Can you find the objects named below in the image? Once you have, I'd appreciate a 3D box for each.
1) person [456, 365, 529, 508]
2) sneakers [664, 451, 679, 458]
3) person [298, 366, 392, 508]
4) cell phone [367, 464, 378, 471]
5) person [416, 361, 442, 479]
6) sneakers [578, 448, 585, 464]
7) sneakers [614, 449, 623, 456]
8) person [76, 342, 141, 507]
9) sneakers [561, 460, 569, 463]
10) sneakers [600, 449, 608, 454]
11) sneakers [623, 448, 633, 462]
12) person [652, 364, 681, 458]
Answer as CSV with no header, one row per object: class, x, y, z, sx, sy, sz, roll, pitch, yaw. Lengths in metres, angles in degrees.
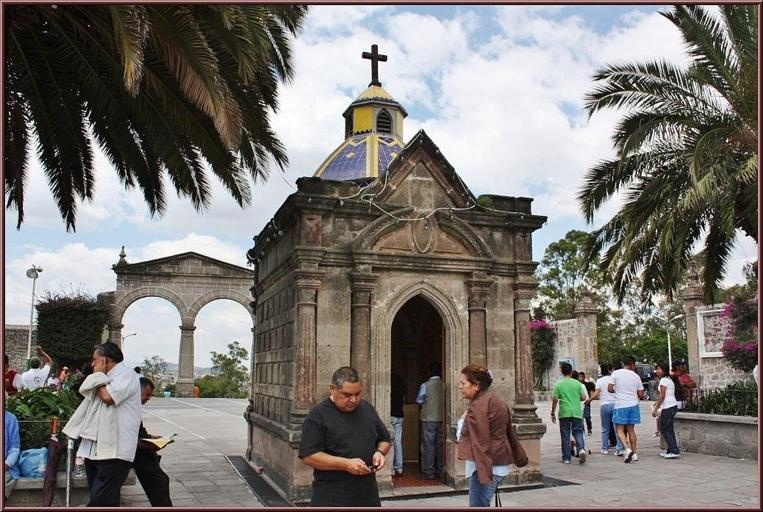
person,1.575,2.656,9.881,0.865,2.020,0.491,-2,-12,6
sneakers,6.776,4.639,15.588,0.333,0.154,0.122,4,-14,-3
person,-0.498,2.414,8.895,1.157,1.821,0.603,-1,-12,0
cell phone,-0.111,2.787,8.755,0.126,0.092,0.229,0,-13,-1
person,1.087,3.448,14.018,0.685,2.362,0.507,-6,-13,23
sneakers,4.590,4.592,15.201,0.128,0.158,0.355,3,-47,-1
sneakers,5.852,4.834,16.415,0.117,0.131,0.299,1,-4,4
person,-3.961,2.435,9.724,0.797,2.353,0.594,2,-12,-14
sneakers,4.305,4.779,15.537,0.169,0.090,0.199,-4,-13,15
sneakers,5.530,4.848,16.566,0.087,0.108,0.248,2,-3,2
sneakers,5.628,4.564,15.187,0.166,0.182,0.396,-1,-36,0
person,6.727,3.674,15.971,0.703,2.158,0.657,-6,-17,33
